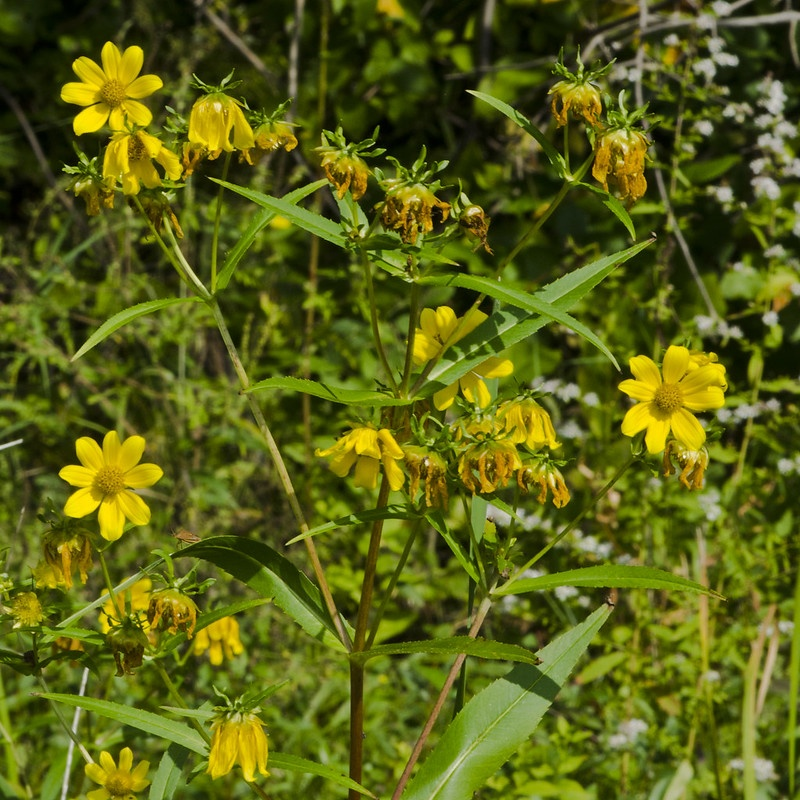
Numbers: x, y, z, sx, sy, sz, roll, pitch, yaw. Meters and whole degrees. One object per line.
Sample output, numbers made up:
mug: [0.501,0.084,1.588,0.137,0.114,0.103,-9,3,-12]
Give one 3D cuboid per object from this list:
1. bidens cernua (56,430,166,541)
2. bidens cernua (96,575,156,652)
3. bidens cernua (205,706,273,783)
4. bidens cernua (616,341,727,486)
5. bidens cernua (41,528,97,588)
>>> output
bidens cernua: [-0.488,0.141,1.794,0.193,0.047,0.183,-10,93,-4]
bidens cernua: [-0.462,0.384,1.757,0.076,0.082,0.020,15,101,-8]
bidens cernua: [-0.258,0.564,1.714,0.126,0.107,0.117,4,23,5]
bidens cernua: [0.434,0.016,1.667,0.235,0.071,0.211,6,95,26]
bidens cernua: [-0.566,0.266,1.773,0.084,0.073,0.088,-4,95,-33]
